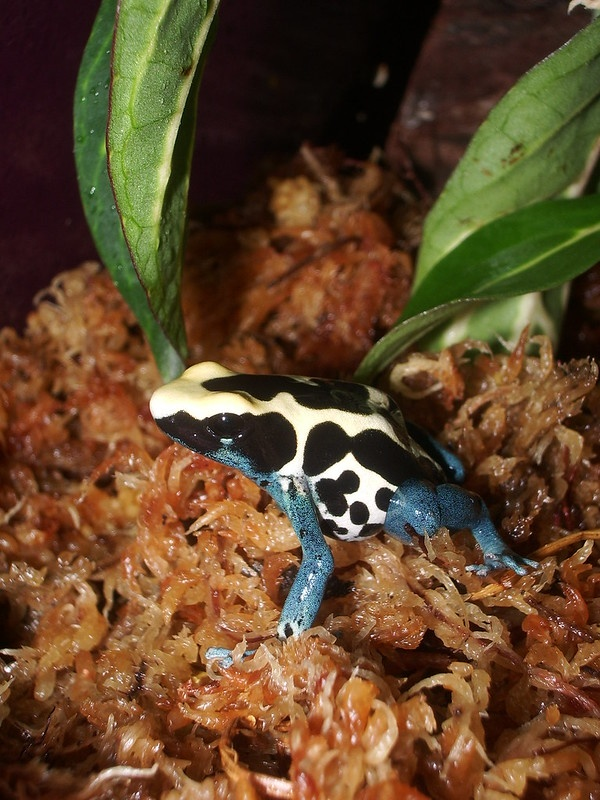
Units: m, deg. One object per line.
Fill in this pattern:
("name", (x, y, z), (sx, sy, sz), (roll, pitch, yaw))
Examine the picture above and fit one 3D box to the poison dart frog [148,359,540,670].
("poison dart frog", (0.021, 0.093, 1.193), (0.553, 0.305, 0.447), (-5, 36, -24))
